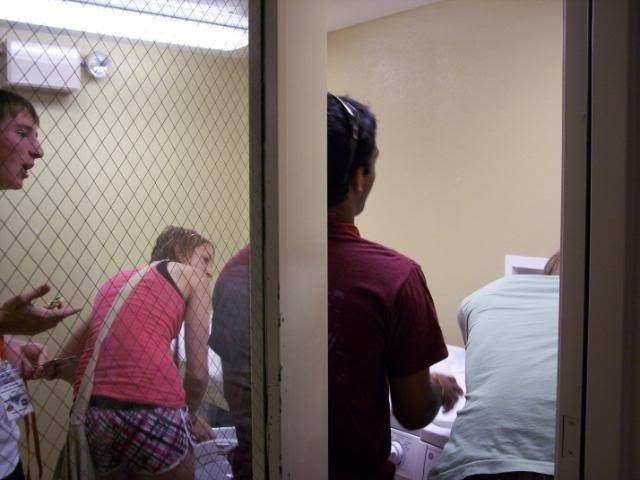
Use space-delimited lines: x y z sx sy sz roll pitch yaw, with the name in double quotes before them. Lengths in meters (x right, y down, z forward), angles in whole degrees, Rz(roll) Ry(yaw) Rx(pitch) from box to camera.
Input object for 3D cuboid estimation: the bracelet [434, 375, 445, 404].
"bracelet" 0.440 0.551 2.036 0.027 0.089 0.063 -7 2 -5
